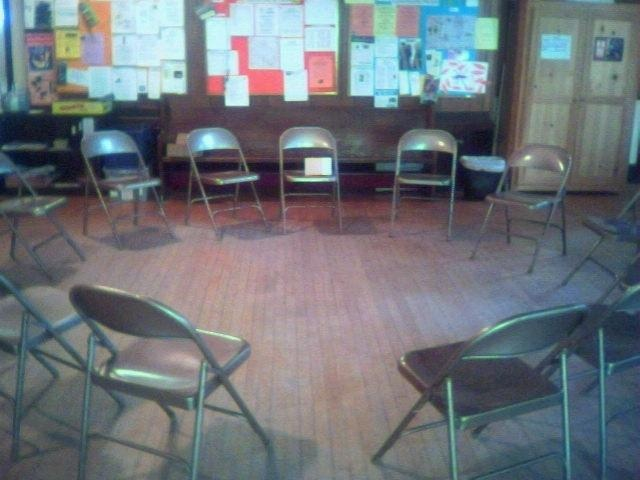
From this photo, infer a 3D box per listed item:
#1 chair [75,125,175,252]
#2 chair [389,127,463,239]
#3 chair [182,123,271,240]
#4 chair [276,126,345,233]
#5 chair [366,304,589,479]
[{"bbox_3d":[-1.999,-0.627,5.295,0.837,1.016,2.241,-8,22,-19],"label":"chair"},{"bbox_3d":[1.084,-0.753,5.647,0.764,1.024,2.094,5,21,13],"label":"chair"},{"bbox_3d":[-1.036,-0.718,5.602,0.849,1.005,2.050,-5,21,-12],"label":"chair"},{"bbox_3d":[-0.084,-0.726,5.608,0.756,1.022,1.740,-2,21,-3],"label":"chair"},{"bbox_3d":[0.676,0.686,2.269,0.572,0.835,0.651,-8,30,-13],"label":"chair"}]
